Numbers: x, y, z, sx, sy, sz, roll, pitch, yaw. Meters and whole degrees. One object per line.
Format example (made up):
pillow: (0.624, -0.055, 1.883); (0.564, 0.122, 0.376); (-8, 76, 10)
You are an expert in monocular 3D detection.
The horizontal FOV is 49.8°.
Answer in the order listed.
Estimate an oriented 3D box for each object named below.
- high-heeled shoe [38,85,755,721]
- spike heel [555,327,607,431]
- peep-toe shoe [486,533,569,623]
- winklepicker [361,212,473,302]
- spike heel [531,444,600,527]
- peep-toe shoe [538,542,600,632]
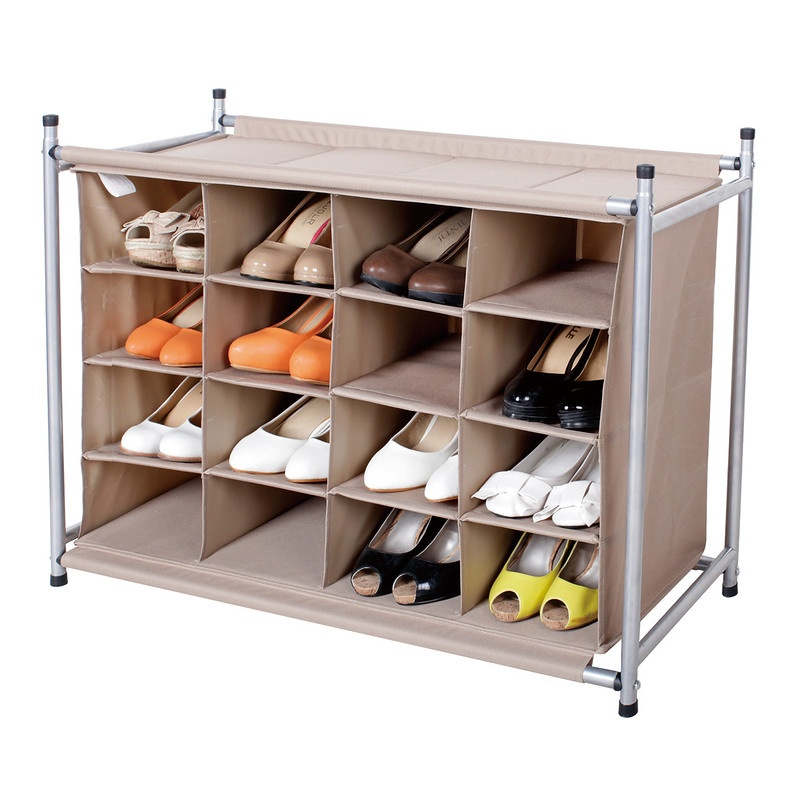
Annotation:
high-heeled shoe: (0.039, -0.047, 2.278); (1.924, 0.819, 1.163); (7, -72, 23)
spike heel: (0.459, -0.051, 2.141); (0.123, 0.395, 0.115); (-1, -45, 11)
peep-toe shoe: (0.345, 0.464, 2.288); (0.129, 0.319, 0.079); (8, -58, 25)
winklepicker: (0.088, -0.378, 2.302); (0.242, 0.365, 0.086); (15, -59, 26)
spike heel: (0.453, 0.204, 2.165); (0.125, 0.253, 0.040); (2, -58, 36)
peep-toe shoe: (0.443, 0.494, 2.278); (0.159, 0.397, 0.101); (1, -82, 16)
